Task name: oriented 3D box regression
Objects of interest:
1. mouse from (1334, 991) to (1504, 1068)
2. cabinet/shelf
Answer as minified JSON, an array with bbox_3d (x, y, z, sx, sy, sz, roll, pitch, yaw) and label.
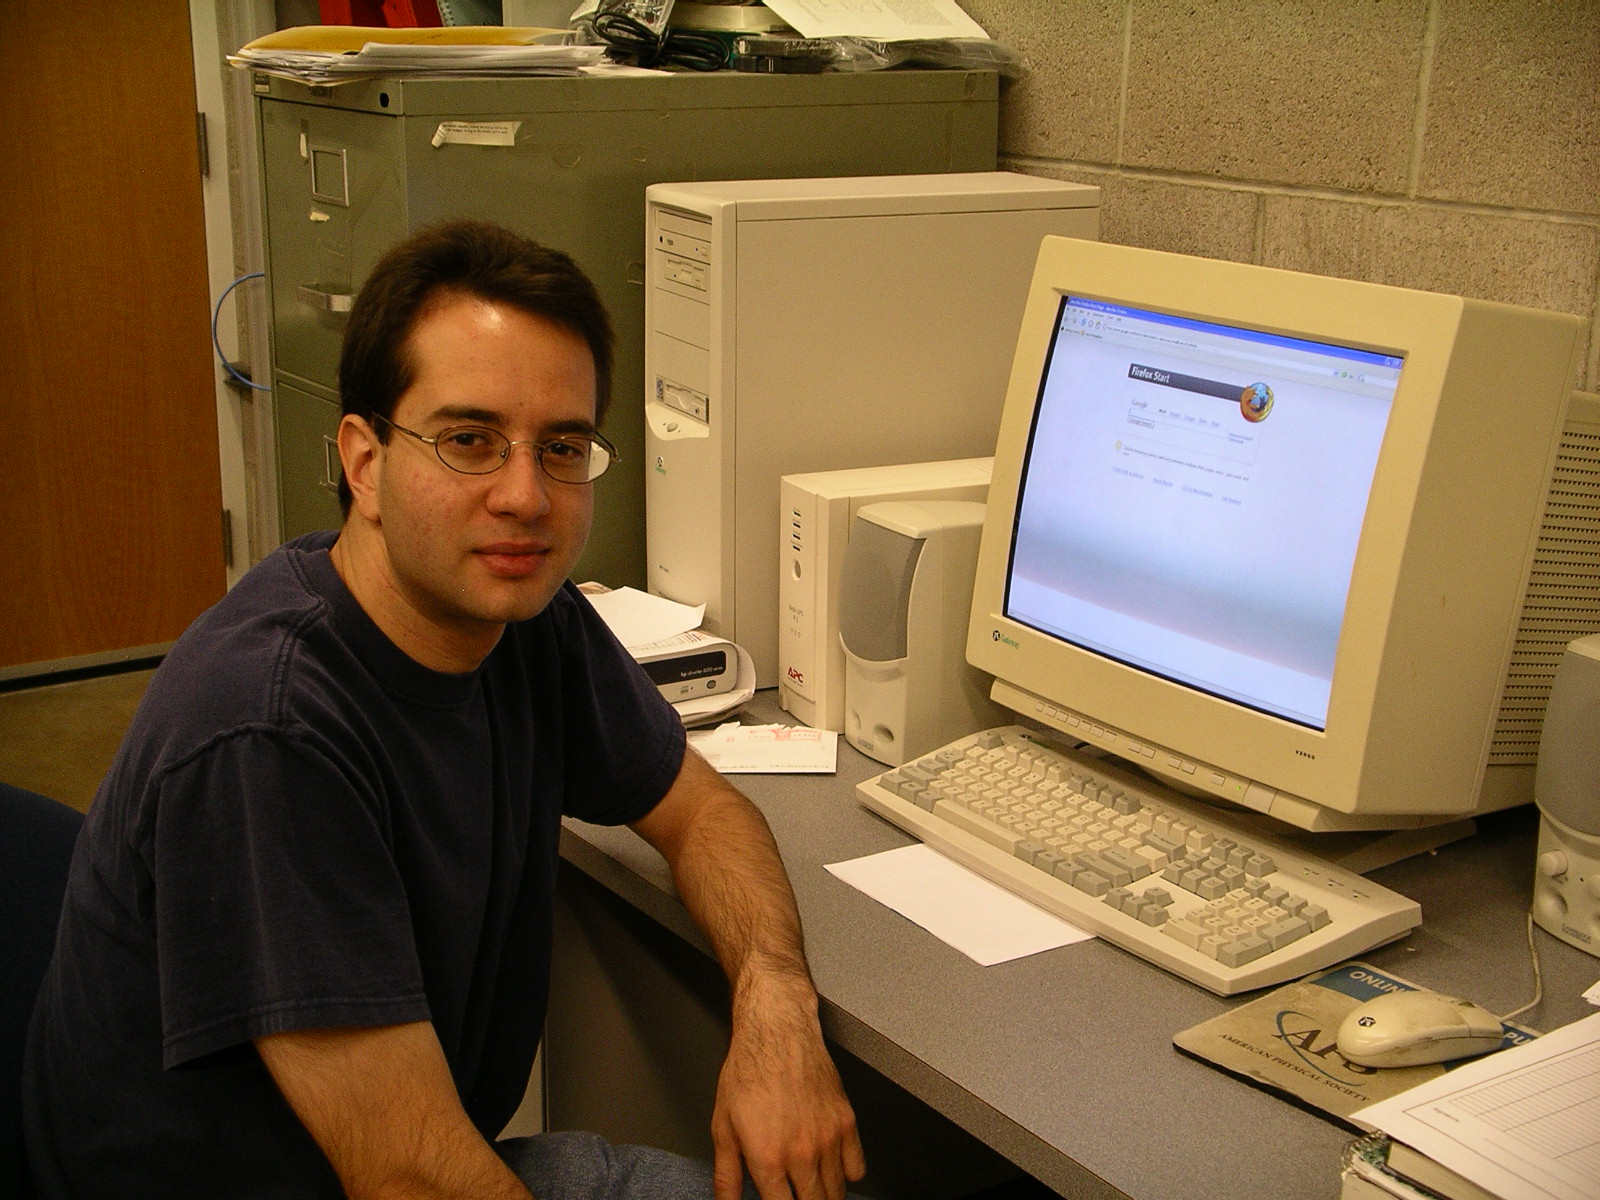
[{"bbox_3d":[0.509,0.355,1.064,0.111,0.039,0.063,-8,18,-5],"label":"mouse"},{"bbox_3d":[-0.355,-0.566,2.513,1.139,1.301,0.702,-1,15,-17],"label":"cabinet/shelf"}]
